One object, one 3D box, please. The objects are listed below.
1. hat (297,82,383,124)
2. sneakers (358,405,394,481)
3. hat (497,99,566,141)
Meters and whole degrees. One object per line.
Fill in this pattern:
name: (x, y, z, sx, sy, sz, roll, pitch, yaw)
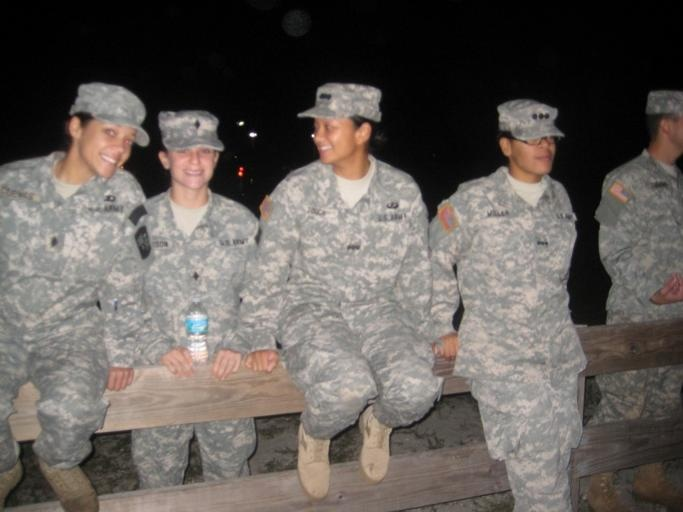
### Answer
hat: (-0.005, -1.149, 4.826, 0.613, 0.315, 0.356, -4, 2, -1)
sneakers: (0.256, 1.363, 4.712, 0.208, 0.567, 0.230, -1, 11, -5)
hat: (1.426, -1.038, 4.896, 0.461, 0.349, 0.264, -4, 3, 15)
